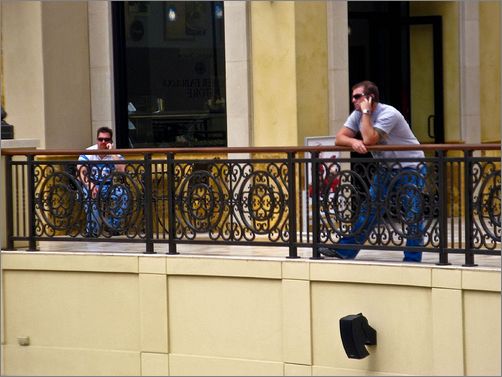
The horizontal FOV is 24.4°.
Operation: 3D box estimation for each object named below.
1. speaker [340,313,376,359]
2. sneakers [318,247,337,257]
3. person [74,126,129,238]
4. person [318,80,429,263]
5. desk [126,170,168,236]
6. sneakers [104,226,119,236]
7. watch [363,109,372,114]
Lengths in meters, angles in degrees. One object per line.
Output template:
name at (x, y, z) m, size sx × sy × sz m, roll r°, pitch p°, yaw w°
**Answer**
speaker at (1.281, 1.803, 14.123) m, size 0.310 × 0.644 × 0.552 m, roll -4°, pitch 3°, yaw 41°
sneakers at (0.959, 0.797, 14.624) m, size 0.204 × 0.077 × 0.106 m, roll 11°, pitch 0°, yaw 28°
person at (-2.017, -0.036, 15.583) m, size 0.666 × 1.253 × 1.352 m, roll 1°, pitch 5°, yaw -9°
person at (1.616, -0.205, 14.509) m, size 1.245 × 2.241 × 0.693 m, roll 4°, pitch 5°, yaw 20°
desk at (-1.301, 0.135, 15.328) m, size 0.797 × 0.950 × 0.493 m, roll -1°, pitch -13°, yaw -2°
sneakers at (-1.830, 0.550, 15.182) m, size 0.138 × 0.149 × 0.144 m, roll 3°, pitch 0°, yaw 36°
watch at (1.419, -0.959, 14.361) m, size 0.097 × 0.058 × 0.038 m, roll 3°, pitch 5°, yaw 2°
